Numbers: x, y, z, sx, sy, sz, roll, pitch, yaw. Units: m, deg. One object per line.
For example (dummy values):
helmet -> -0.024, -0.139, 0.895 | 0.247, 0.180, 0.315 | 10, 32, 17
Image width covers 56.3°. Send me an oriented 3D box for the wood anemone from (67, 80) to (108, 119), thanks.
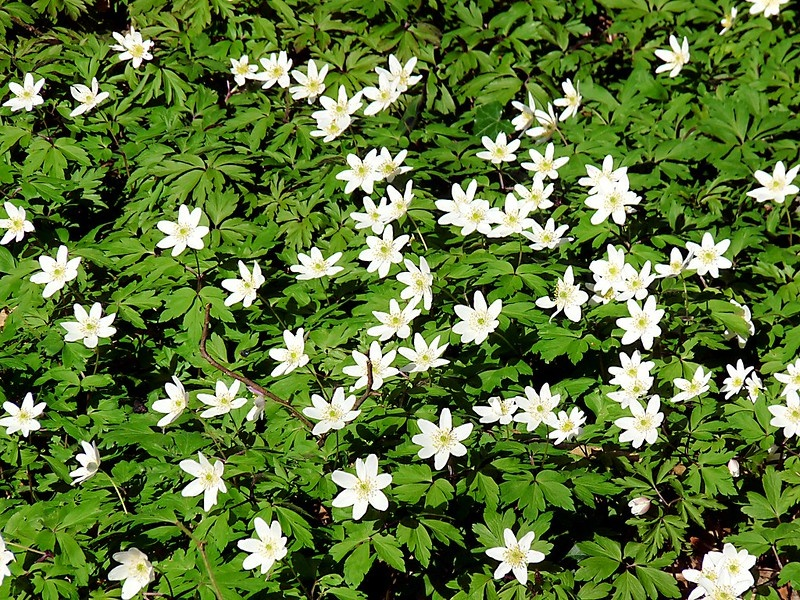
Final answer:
wood anemone -> -2.510, -1.642, 6.080 | 0.295, 0.130, 0.312 | -30, 84, 9
